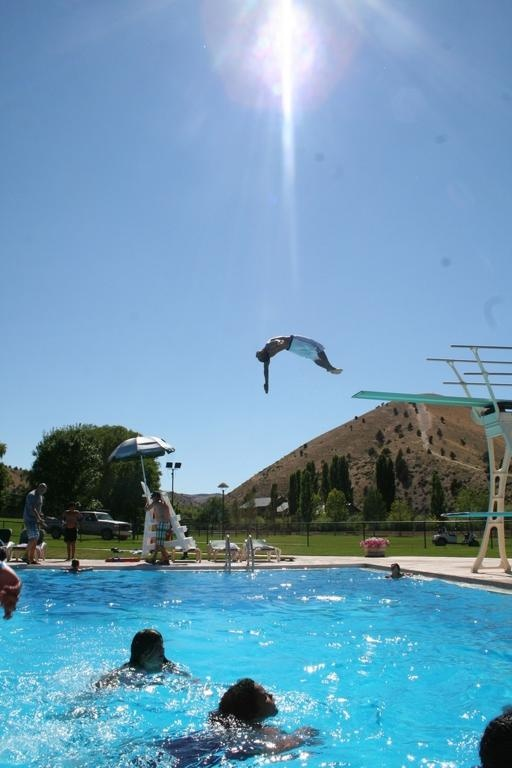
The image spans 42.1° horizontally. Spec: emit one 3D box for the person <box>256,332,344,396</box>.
[{"bbox_3d":[0.781,-0.305,12.049,1.191,0.321,1.239,2,-47,-24],"label":"person"}]

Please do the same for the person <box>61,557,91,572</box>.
[{"bbox_3d":[-3.703,3.770,13.870,0.579,0.246,0.763,0,-10,-10],"label":"person"}]

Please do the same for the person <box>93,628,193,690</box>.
[{"bbox_3d":[-1.104,2.613,6.428,0.869,0.550,0.647,1,-10,-11],"label":"person"}]

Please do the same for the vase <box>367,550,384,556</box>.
[{"bbox_3d":[3.145,4.523,17.790,0.462,0.175,0.385,-2,-10,7],"label":"vase"}]

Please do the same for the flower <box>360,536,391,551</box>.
[{"bbox_3d":[3.138,4.313,18.030,0.658,0.406,0.651,2,-6,-11],"label":"flower"}]
